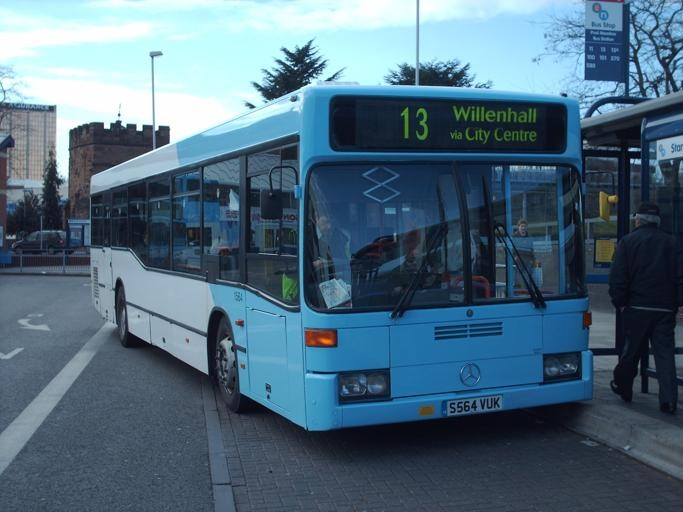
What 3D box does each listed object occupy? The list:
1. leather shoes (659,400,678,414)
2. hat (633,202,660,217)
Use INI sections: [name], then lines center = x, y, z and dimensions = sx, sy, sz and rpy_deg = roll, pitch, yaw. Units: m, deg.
[leather shoes]
center = 3.490, 1.604, 6.810
dimensions = 0.109, 0.131, 0.154
rpy_deg = 5, -8, -8
[hat]
center = 3.446, -0.530, 7.234
dimensions = 0.141, 0.124, 0.213
rpy_deg = 1, 8, 9
